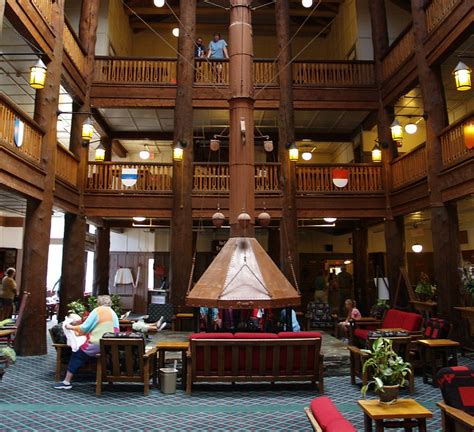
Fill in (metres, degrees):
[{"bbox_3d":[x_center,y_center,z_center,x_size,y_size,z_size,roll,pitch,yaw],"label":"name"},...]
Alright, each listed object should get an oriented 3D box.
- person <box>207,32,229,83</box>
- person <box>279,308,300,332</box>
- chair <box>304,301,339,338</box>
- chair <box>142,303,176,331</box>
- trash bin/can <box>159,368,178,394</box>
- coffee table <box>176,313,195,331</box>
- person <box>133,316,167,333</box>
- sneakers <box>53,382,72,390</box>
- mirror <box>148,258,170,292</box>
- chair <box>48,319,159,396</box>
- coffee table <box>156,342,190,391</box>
[{"bbox_3d":[-0.600,-4.858,12.810,0.737,1.476,0.344,-2,-2,0],"label":"person"},{"bbox_3d":[1.053,2.028,8.278,0.335,0.482,0.844,0,0,6],"label":"person"},{"bbox_3d":[2.223,2.711,11.100,0.661,0.757,0.490,0,0,-3],"label":"chair"},{"bbox_3d":[-2.097,2.782,11.447,0.782,0.888,0.720,0,-11,1],"label":"chair"},{"bbox_3d":[-0.970,2.449,6.274,0.326,0.340,0.301,1,-6,-8],"label":"trash bin/can"},{"bbox_3d":[-1.338,2.739,10.836,0.507,0.455,0.492,0,-2,0],"label":"coffee table"},{"bbox_3d":[-1.832,2.360,8.866,0.740,0.318,0.549,8,-13,-21],"label":"person"},{"bbox_3d":[-2.608,2.562,6.325,0.283,0.113,0.104,3,-4,0],"label":"sneakers"},{"bbox_3d":[-3.226,2.265,17.028,0.873,1.310,0.636,0,0,-1],"label":"mirror"},{"bbox_3d":[-1.830,2.389,6.498,1.549,1.063,1.015,-1,-9,1],"label":"chair"},{"bbox_3d":[-0.985,2.328,6.550,0.619,0.718,0.604,0,-11,-5],"label":"coffee table"}]
